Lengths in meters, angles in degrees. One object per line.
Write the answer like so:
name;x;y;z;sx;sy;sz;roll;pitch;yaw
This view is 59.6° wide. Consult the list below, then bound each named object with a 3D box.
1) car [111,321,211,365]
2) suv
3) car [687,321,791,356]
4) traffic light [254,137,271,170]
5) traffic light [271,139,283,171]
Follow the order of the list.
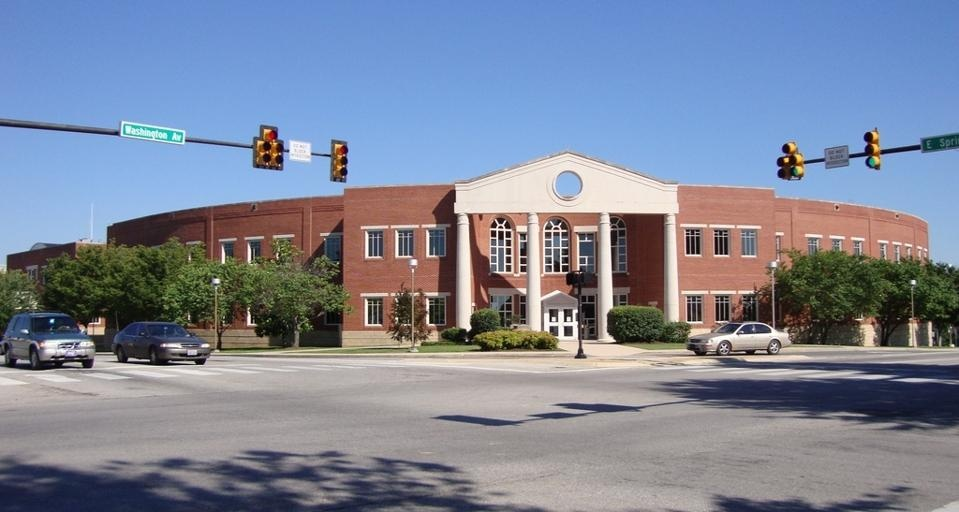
car;-16.799;4.610;44.464;5.108;2.242;1.948;-5;-11;35
suv;-21.635;4.195;42.177;4.863;2.920;2.075;-4;-10;33
car;16.074;5.163;52.611;6.087;1.644;2.383;3;-7;-19
traffic light;-9.457;-4.556;36.620;0.755;1.394;0.491;4;-9;-14
traffic light;-8.897;-4.464;36.859;0.506;1.295;0.400;4;-9;-19
